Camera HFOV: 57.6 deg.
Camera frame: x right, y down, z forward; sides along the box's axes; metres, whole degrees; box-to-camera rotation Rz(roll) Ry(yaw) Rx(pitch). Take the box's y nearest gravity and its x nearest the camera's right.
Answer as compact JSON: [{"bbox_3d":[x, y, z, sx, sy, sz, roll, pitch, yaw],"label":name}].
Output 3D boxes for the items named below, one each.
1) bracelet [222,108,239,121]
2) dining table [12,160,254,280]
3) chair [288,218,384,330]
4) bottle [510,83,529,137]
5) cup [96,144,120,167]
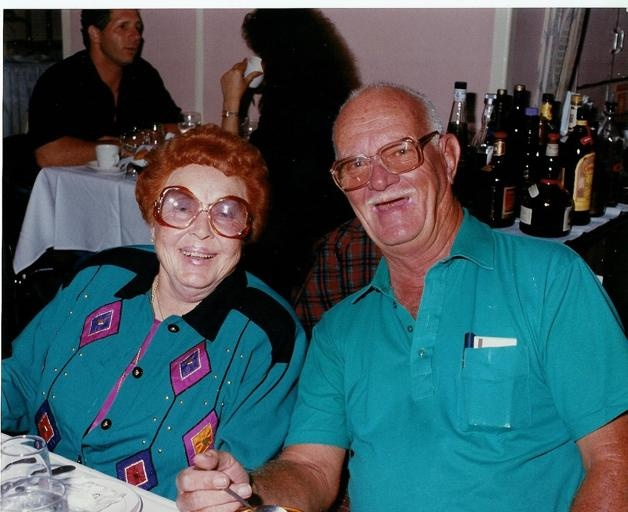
[{"bbox_3d":[-0.622,-1.034,4.170,0.091,0.062,0.096,1,0,3],"label":"bracelet"},{"bbox_3d":[-1.485,-0.265,3.627,0.854,0.446,0.823,-12,25,-38],"label":"dining table"},{"bbox_3d":[0.148,-0.017,2.904,0.446,0.554,0.218,-15,53,-1],"label":"chair"},{"bbox_3d":[0.954,-0.680,2.678,0.074,0.232,0.076,-4,25,2],"label":"bottle"},{"bbox_3d":[-1.408,-0.681,3.882,0.117,0.130,0.176,-10,27,-32],"label":"cup"}]
